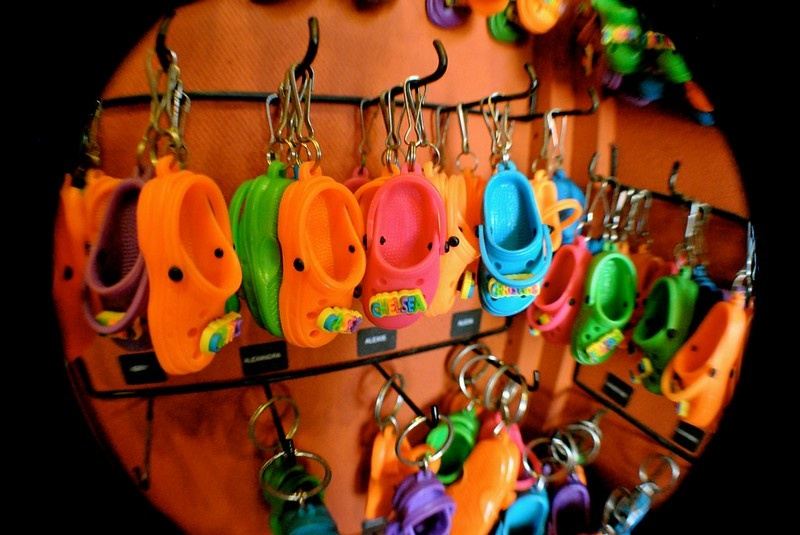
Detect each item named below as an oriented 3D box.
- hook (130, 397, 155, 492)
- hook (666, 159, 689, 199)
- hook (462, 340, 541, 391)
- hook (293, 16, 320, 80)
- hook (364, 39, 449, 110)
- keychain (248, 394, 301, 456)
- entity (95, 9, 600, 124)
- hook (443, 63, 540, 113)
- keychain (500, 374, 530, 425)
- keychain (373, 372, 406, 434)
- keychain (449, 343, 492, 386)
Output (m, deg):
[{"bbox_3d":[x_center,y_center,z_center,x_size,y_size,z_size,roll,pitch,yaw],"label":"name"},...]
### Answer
[{"bbox_3d":[-0.631,0.452,1.502,0.062,0.240,0.063,2,1,-15],"label":"hook"},{"bbox_3d":[0.714,-0.230,1.564,0.024,0.094,0.067,13,20,42],"label":"hook"},{"bbox_3d":[0.264,0.297,1.648,0.206,0.056,0.145,33,33,15],"label":"hook"},{"bbox_3d":[-0.191,-0.468,1.293,0.034,0.130,0.094,4,13,-4],"label":"hook"},{"bbox_3d":[0.040,-0.459,1.405,0.139,0.080,0.219,-10,9,-27],"label":"hook"},{"bbox_3d":[-0.315,0.368,1.518,0.137,0.032,0.144,0,39,-28],"label":"keychain"},{"bbox_3d":[-0.121,-0.448,1.393,1.072,0.208,0.333,-6,13,-23],"label":"entity"},{"bbox_3d":[0.251,-0.458,1.499,0.095,0.134,0.307,-17,26,-16],"label":"hook"},{"bbox_3d":[0.303,0.326,1.620,0.038,0.158,0.167,6,-30,24],"label":"keychain"},{"bbox_3d":[-0.031,0.362,1.560,0.034,0.156,0.121,7,8,17],"label":"keychain"},{"bbox_3d":[0.203,0.260,1.702,0.030,0.128,0.131,15,18,32],"label":"keychain"}]
